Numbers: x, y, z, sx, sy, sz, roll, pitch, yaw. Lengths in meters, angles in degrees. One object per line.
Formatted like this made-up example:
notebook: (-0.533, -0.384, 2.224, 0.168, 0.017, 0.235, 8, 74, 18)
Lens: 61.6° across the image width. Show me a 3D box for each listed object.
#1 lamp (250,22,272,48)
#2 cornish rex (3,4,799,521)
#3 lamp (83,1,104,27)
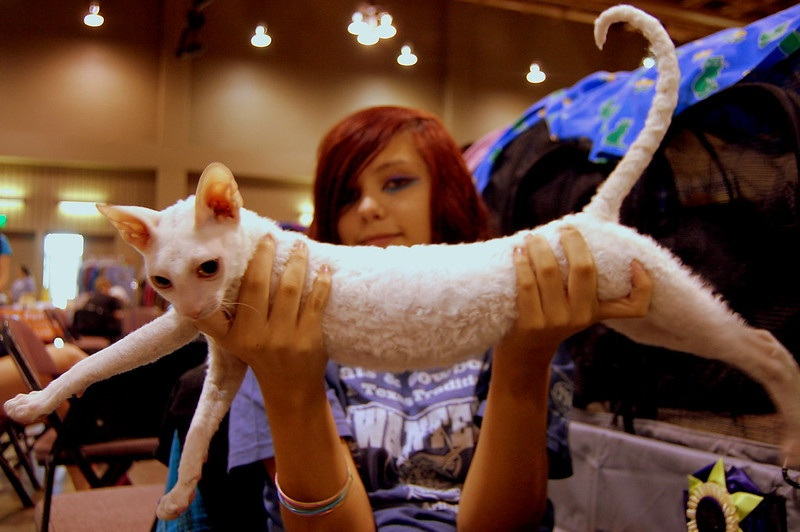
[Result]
lamp: (-0.455, -0.746, 2.178, 0.059, 0.062, 0.058, -4, -15, -10)
cornish rex: (0.034, -0.011, 1.478, 1.727, 1.181, 0.342, 3, 4, 7)
lamp: (-0.845, -0.688, 1.850, 0.058, 0.065, 0.058, 6, -10, -23)
